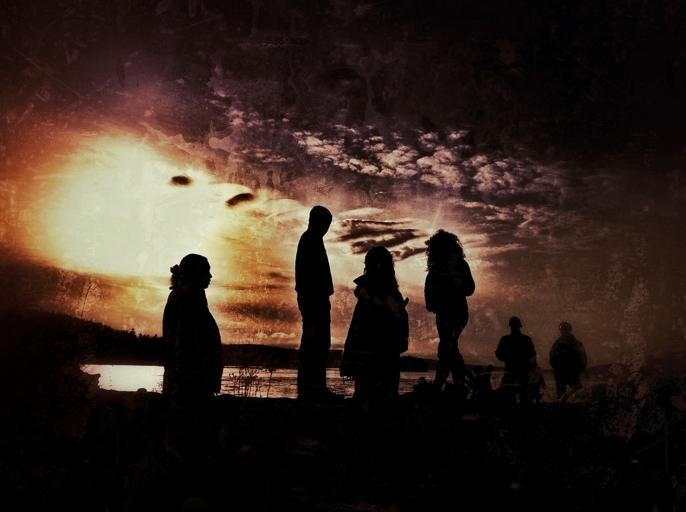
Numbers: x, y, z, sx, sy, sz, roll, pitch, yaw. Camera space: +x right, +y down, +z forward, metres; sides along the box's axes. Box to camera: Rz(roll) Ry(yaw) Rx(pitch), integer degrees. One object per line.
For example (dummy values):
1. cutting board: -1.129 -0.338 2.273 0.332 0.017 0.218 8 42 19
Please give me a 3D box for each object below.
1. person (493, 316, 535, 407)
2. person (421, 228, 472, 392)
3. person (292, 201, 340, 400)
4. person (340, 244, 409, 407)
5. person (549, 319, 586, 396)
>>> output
1. person: 3.503 2.071 15.541 0.853 1.676 0.719 5 -3 2
2. person: 2.002 0.985 14.815 0.931 2.984 0.560 4 -4 23
3. person: -0.529 0.782 14.177 0.666 3.552 0.852 8 -4 -29
4. person: 0.604 1.206 14.100 1.171 2.829 0.607 6 -3 0
5. person: 4.660 2.172 16.101 0.701 1.573 0.337 5 -4 15
